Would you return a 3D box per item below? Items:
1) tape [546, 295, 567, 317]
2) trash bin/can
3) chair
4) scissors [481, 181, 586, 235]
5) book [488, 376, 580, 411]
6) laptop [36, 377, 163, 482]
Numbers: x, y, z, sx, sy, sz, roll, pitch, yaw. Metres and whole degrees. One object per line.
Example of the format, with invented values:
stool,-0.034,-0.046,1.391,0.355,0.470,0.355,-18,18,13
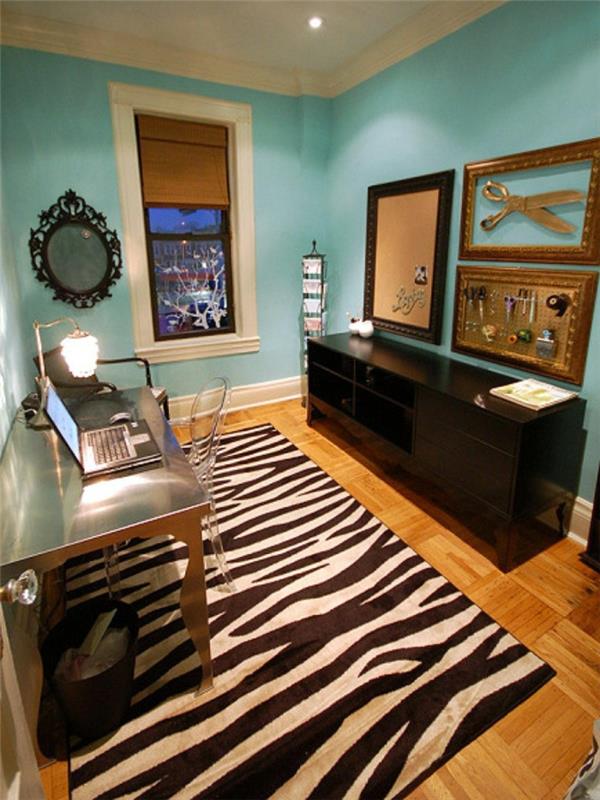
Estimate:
tape,1.192,-0.441,2.662,0.034,0.108,0.106,-7,16,-20
trash bin/can,-0.677,0.845,1.961,0.352,0.346,0.384,-15,21,-28
chair,-0.739,0.313,2.443,0.362,0.732,0.978,-8,27,-17
scissors,1.096,-0.938,2.757,0.044,0.281,0.627,-8,17,-23
book,1.099,-0.037,2.692,0.366,0.049,0.314,-10,18,-30
laptop,-0.778,-0.052,2.269,0.362,0.290,0.713,-14,30,-17
